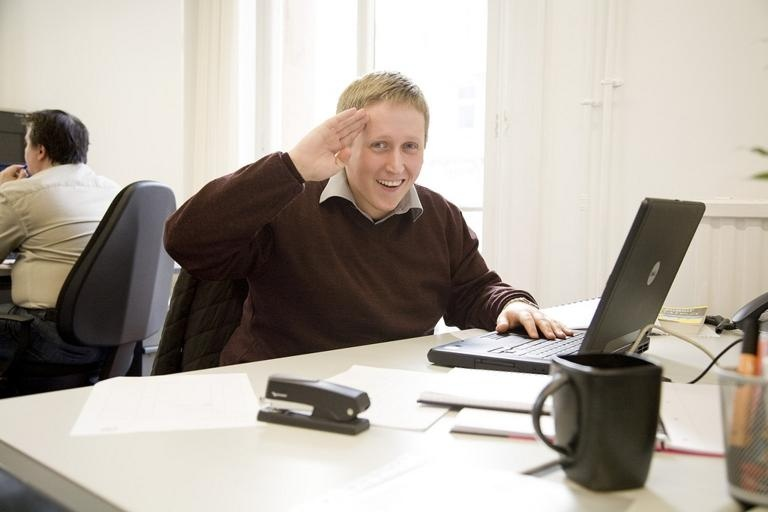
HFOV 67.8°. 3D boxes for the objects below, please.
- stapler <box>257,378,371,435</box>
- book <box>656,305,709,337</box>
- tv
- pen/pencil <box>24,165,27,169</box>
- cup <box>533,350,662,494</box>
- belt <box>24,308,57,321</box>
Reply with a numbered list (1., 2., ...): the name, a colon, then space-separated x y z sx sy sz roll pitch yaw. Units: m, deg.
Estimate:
1. stapler: -0.139 0.276 1.082 0.195 0.074 0.062 8 3 4
2. book: 0.909 0.193 1.747 0.136 0.040 0.143 7 20 39
3. tv: 0.398 0.085 1.549 0.563 0.438 0.734 2 3 40
4. pen/pencil: -1.934 -0.481 3.067 0.019 0.027 0.008 1 -10 -11
5. cup: 0.348 0.266 0.981 0.158 0.198 0.235 4 7 5
6. belt: -1.469 0.248 2.442 0.067 0.023 0.048 12 12 6
